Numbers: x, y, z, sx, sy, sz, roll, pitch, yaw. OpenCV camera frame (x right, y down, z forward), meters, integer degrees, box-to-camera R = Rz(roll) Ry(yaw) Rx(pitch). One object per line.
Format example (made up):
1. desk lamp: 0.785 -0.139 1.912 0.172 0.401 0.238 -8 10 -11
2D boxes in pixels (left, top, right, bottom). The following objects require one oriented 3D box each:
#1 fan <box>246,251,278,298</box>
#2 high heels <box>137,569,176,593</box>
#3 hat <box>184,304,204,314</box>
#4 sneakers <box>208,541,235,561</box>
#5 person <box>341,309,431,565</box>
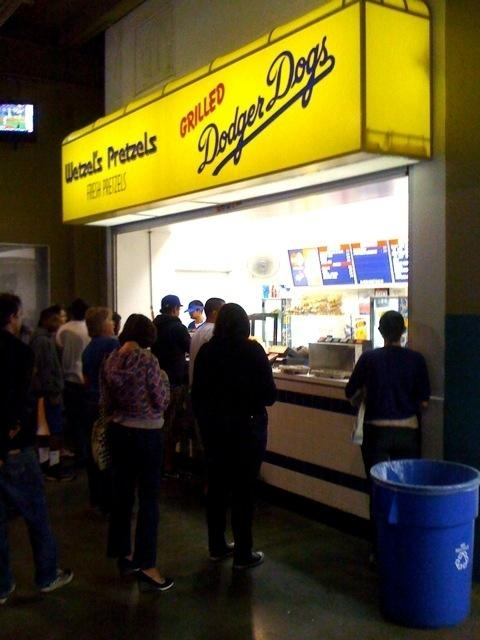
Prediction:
1. fan: 0.266 -0.541 6.264 0.417 0.786 0.290 -1 -5 15
2. high heels: -0.392 1.217 2.580 0.161 0.101 0.095 0 5 -13
3. hat: -0.467 -0.121 5.590 0.129 0.097 0.103 -4 0 2
4. sneakers: -0.100 1.226 2.897 0.059 0.088 0.193 1 2 23
5. person: 0.796 0.533 2.933 0.398 1.393 0.354 4 30 22
